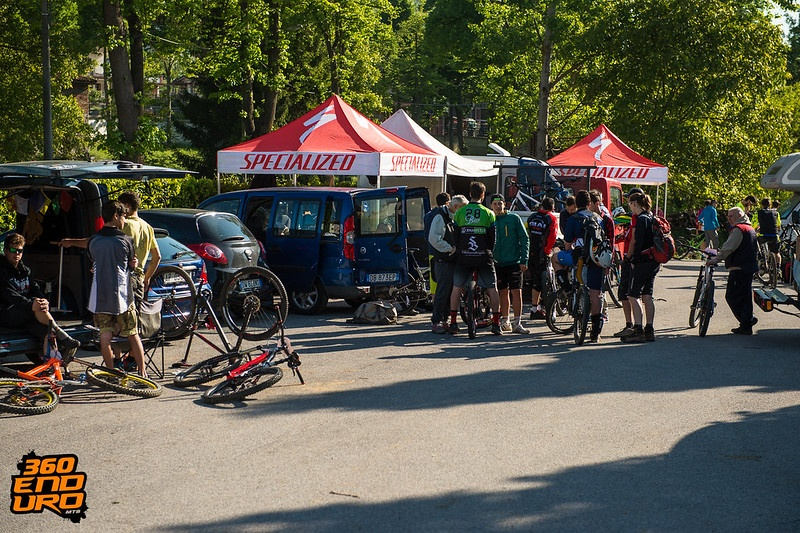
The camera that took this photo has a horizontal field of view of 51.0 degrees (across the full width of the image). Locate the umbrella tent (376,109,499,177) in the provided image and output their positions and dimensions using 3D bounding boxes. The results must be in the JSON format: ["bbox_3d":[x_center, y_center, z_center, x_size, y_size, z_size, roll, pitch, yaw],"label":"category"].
[{"bbox_3d":[1.010,-3.007,21.550,2.431,1.234,2.414,-2,2,-36],"label":"umbrella tent"}]

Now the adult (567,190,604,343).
[{"bbox_3d":[3.196,0.041,14.403,0.670,2.534,1.011,0,11,0],"label":"adult"}]

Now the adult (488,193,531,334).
[{"bbox_3d":[1.862,-0.036,15.235,0.936,2.500,0.838,-3,-3,21],"label":"adult"}]

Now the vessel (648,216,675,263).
[{"bbox_3d":[4.567,-0.437,14.653,0.439,0.812,0.594,5,12,26],"label":"vessel"}]

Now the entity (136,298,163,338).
[{"bbox_3d":[-3.574,0.741,11.813,0.235,0.650,0.553,0,-1,23],"label":"entity"}]

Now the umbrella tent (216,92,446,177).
[{"bbox_3d":[-1.492,-2.935,19.662,5.429,1.599,5.266,-6,9,-37],"label":"umbrella tent"}]

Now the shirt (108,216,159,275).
[{"bbox_3d":[-3.695,-0.258,11.463,0.303,0.734,0.810,-1,2,16],"label":"shirt"}]

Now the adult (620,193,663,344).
[{"bbox_3d":[4.198,0.039,14.576,0.568,2.573,0.975,4,11,17],"label":"adult"}]

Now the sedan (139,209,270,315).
[{"bbox_3d":[-3.352,-0.238,15.187,1.326,1.136,2.285,-5,14,-43],"label":"sedan"}]

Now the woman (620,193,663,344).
[{"bbox_3d":[4.200,0.038,14.580,0.568,2.573,0.985,4,11,17],"label":"woman"}]

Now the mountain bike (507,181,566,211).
[{"bbox_3d":[3.449,-1.854,22.167,1.387,0.897,0.868,-3,3,-20],"label":"mountain bike"}]

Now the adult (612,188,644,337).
[{"bbox_3d":[4.020,-0.025,15.029,0.779,2.546,0.792,4,-5,12],"label":"adult"}]

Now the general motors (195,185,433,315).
[{"bbox_3d":[-1.472,-0.624,16.876,3.683,1.755,2.667,7,7,38],"label":"general motors"}]

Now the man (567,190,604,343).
[{"bbox_3d":[3.195,0.042,14.393,0.667,2.534,1.002,0,11,0],"label":"man"}]

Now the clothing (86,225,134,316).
[{"bbox_3d":[-3.827,0.093,11.037,0.596,1.183,0.311,-3,11,-19],"label":"clothing"}]

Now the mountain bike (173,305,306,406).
[{"bbox_3d":[-2.231,1.249,11.361,1.614,0.893,1.006,-5,7,40],"label":"mountain bike"}]

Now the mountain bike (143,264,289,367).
[{"bbox_3d":[-2.728,0.665,12.859,2.281,1.333,1.152,0,4,31],"label":"mountain bike"}]

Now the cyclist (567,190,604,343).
[{"bbox_3d":[3.198,0.041,14.403,0.672,2.534,1.011,0,11,0],"label":"cyclist"}]
